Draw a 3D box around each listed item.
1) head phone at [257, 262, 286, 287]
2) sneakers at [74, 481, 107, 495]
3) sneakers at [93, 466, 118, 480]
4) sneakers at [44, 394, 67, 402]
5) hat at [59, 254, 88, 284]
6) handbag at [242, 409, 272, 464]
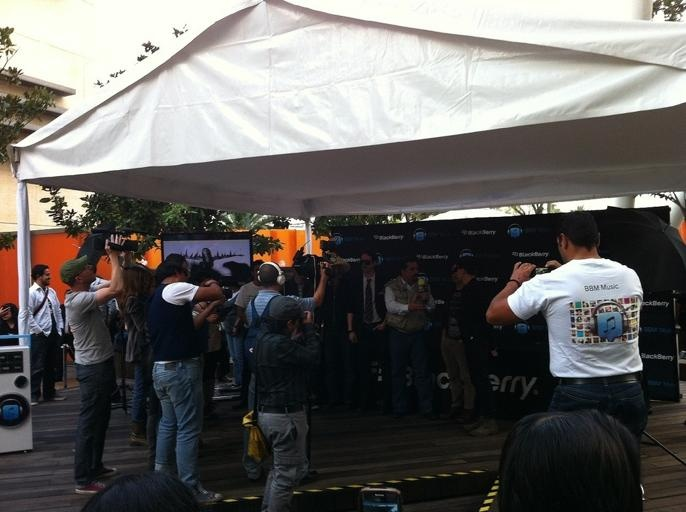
[{"bbox_3d":[-0.670,0.156,5.935,0.195,0.194,0.205,-2,5,1],"label":"head phone"},{"bbox_3d":[-2.469,2.233,6.328,0.272,0.126,0.317,0,-5,-26],"label":"sneakers"},{"bbox_3d":[-2.415,2.169,6.593,0.073,0.090,0.214,4,3,34],"label":"sneakers"},{"bbox_3d":[-4.356,2.119,9.830,0.299,0.130,0.115,-3,0,-10],"label":"sneakers"},{"bbox_3d":[-2.632,0.134,6.333,0.331,0.270,0.138,-4,-5,17],"label":"hat"},{"bbox_3d":[-0.737,1.504,5.489,0.208,0.439,0.254,-2,-5,-2],"label":"handbag"}]
